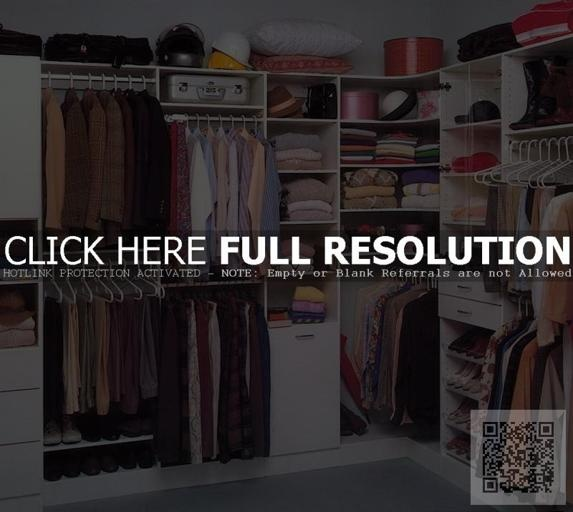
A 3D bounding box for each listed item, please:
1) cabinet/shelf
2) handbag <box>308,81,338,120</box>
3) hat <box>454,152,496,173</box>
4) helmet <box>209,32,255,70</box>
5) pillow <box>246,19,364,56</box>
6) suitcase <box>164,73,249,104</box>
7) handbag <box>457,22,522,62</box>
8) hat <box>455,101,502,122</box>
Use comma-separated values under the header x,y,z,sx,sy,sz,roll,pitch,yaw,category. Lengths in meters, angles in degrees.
x,y,z,sx,sy,sz,roll,pitch,yaw,category
-0.040,0.109,3.544,2.719,2.426,1.555,-1,3,4,cabinet/shelf
0.196,-0.946,3.696,0.203,0.242,0.190,4,9,31,handbag
1.084,-0.530,3.425,0.124,0.076,0.164,-3,3,-34,hat
-0.318,-1.225,3.541,0.245,0.148,0.190,6,19,-48,helmet
0.078,-1.315,3.632,0.502,0.202,0.309,3,20,-26,pillow
-0.452,-0.955,3.405,0.481,0.166,0.060,-3,3,-16,suitcase
1.097,-1.167,3.279,0.104,0.168,0.393,-3,4,-35,handbag
1.070,-0.813,3.364,0.288,0.133,0.107,2,5,42,hat
